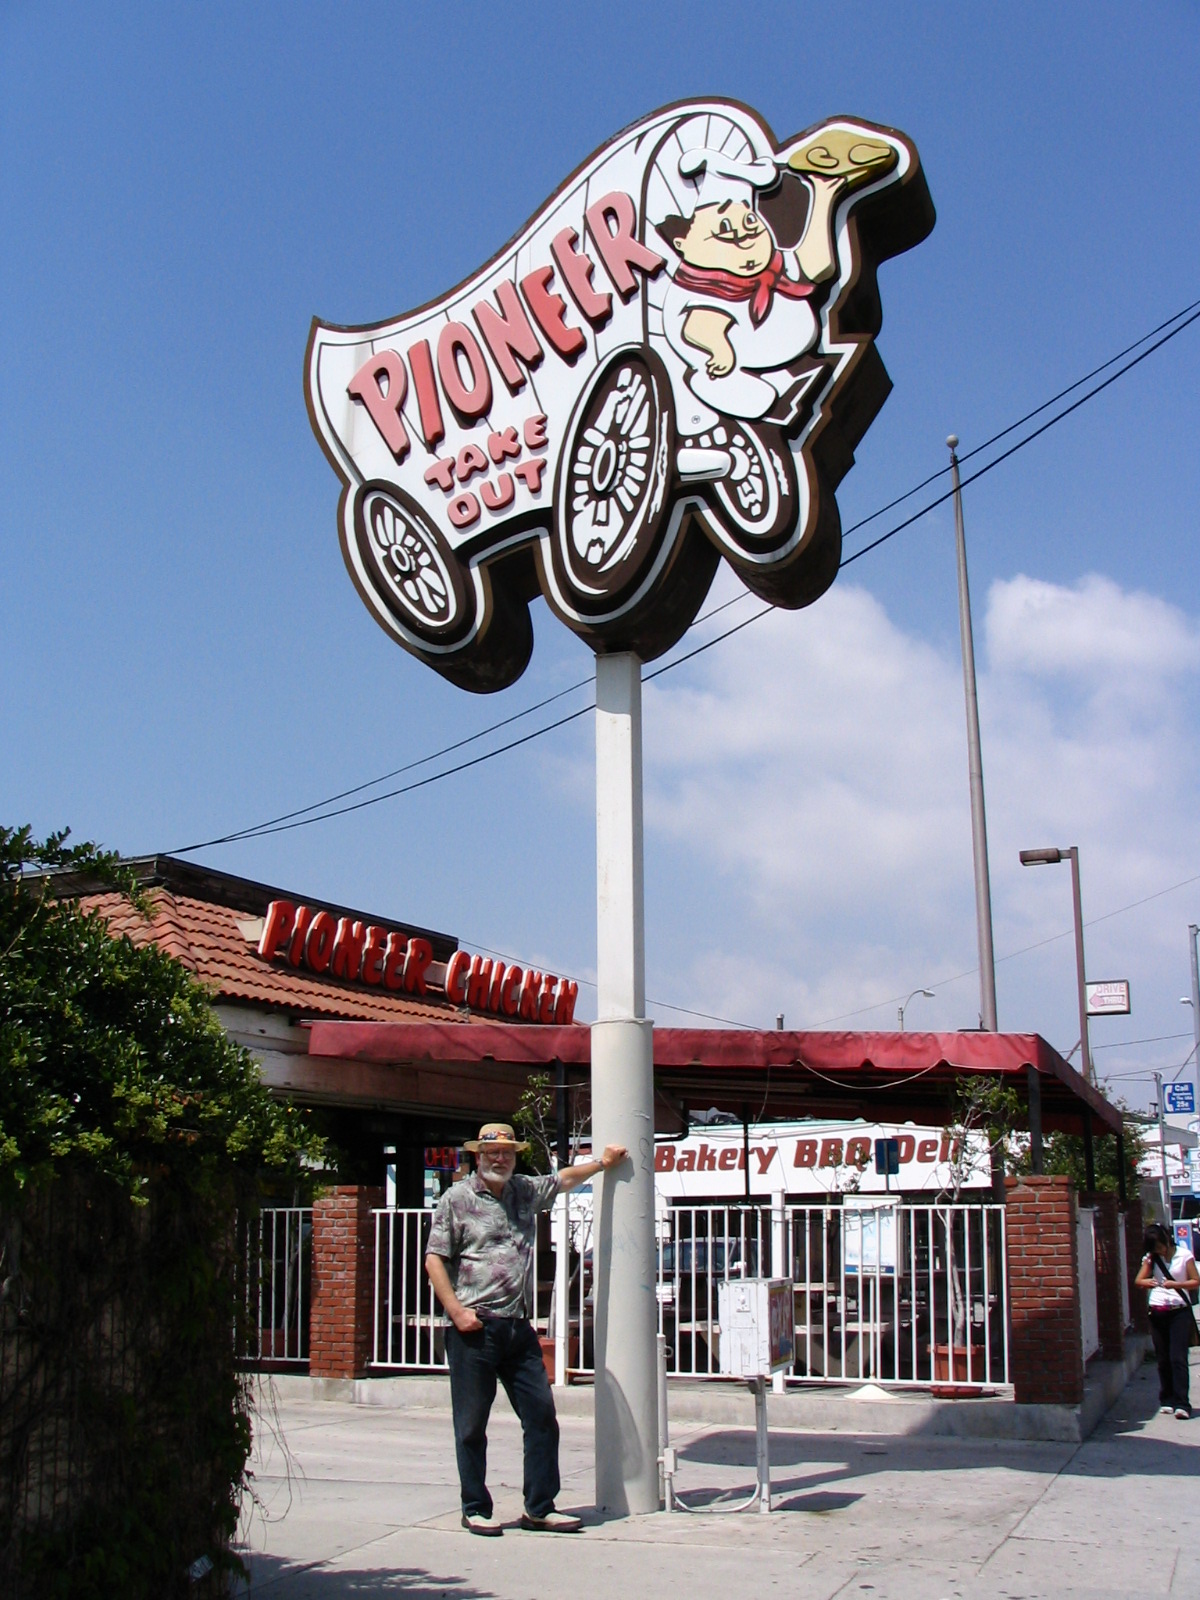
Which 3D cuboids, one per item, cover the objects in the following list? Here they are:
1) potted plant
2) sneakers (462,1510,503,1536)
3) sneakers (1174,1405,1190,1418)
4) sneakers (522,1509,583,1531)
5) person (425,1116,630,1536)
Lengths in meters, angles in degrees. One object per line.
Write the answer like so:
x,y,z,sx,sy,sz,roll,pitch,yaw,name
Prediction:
3.527,3.491,15.982,0.557,1.887,0.672,1,6,36,potted plant
-0.525,3.195,7.893,0.098,0.096,0.215,10,-19,-38,sneakers
4.188,4.417,12.883,0.109,0.054,0.196,-7,-15,16,sneakers
-0.214,3.197,7.973,0.258,0.104,0.100,-3,-12,9,sneakers
-0.384,2.379,8.139,0.734,1.788,0.868,-2,-15,-1,person
